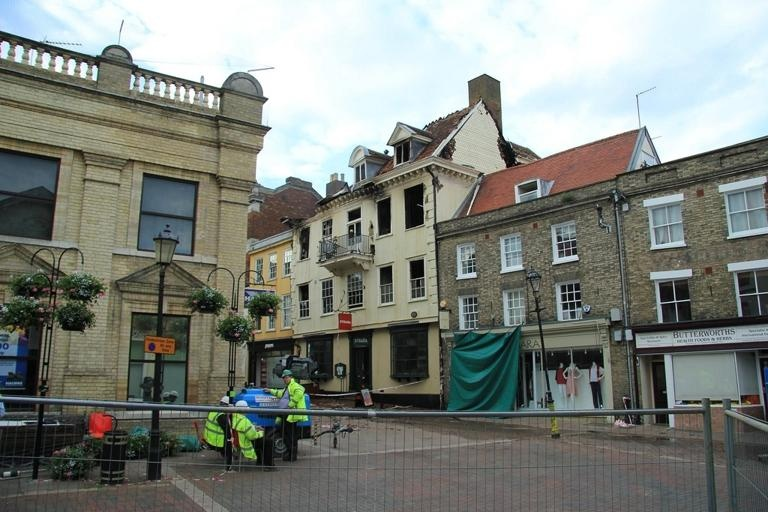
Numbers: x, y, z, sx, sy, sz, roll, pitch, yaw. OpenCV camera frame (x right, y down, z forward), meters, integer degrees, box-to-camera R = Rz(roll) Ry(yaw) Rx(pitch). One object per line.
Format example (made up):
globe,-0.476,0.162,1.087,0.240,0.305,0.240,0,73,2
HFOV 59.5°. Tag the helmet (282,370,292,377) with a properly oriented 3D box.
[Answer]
helmet,-2.387,2.890,16.506,0.260,0.106,0.250,-7,-12,3

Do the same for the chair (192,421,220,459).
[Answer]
chair,-2.732,2.670,10.090,0.229,0.411,0.600,-2,2,-26

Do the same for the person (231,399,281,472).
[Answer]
person,-2.017,2.535,10.152,0.639,0.878,1.884,-2,2,-13

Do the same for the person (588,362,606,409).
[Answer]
person,8.368,5.041,26.387,0.401,1.744,0.880,-2,2,-9

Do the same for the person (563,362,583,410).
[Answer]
person,7.650,5.260,27.279,0.666,1.803,0.424,0,3,24

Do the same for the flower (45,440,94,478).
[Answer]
flower,-4.502,2.967,9.686,0.584,0.384,0.580,2,2,25
